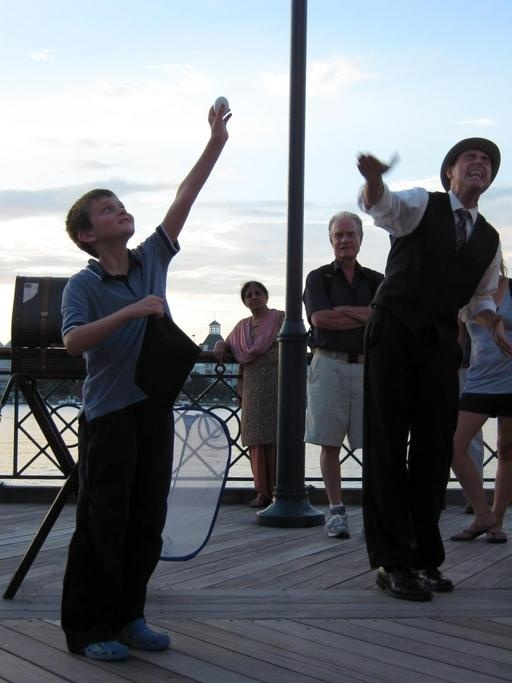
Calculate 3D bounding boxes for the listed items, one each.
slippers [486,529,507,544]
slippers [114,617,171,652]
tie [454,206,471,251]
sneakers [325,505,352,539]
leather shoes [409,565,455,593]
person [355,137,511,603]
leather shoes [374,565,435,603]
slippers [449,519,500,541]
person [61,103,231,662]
[{"bbox_3d":[1.119,0.896,4.181,0.051,0.057,0.085,3,5,4],"label":"slippers"},{"bbox_3d":[-0.330,0.872,2.700,0.175,0.083,0.064,-1,0,19],"label":"slippers"},{"bbox_3d":[0.745,-0.405,3.251,0.063,0.135,0.046,1,0,3],"label":"tie"},{"bbox_3d":[0.391,0.864,4.353,0.118,0.131,0.182,1,0,4],"label":"sneakers"},{"bbox_3d":[0.649,0.869,3.279,0.056,0.057,0.137,0,-5,-31],"label":"leather shoes"},{"bbox_3d":[0.611,0.064,3.295,0.772,1.507,0.382,1,0,-28],"label":"person"},{"bbox_3d":[0.524,0.874,3.211,0.075,0.087,0.183,1,-9,-30],"label":"leather shoes"},{"bbox_3d":[1.024,0.886,4.242,0.229,0.068,0.083,1,-9,10],"label":"slippers"},{"bbox_3d":[-0.347,0.124,2.748,0.503,1.215,0.362,1,0,-23],"label":"person"}]
